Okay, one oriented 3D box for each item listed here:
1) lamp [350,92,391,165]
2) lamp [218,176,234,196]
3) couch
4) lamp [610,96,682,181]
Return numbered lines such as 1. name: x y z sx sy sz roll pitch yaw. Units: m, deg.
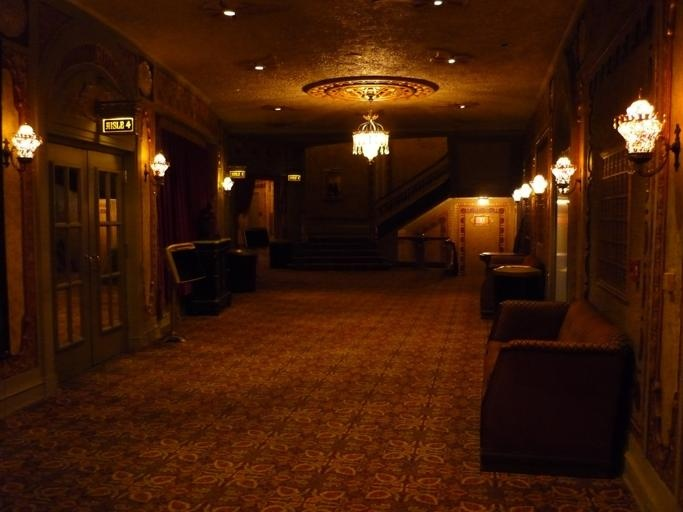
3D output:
1. lamp: 0.580 -2.538 10.422 0.590 1.441 0.603 2 -3 -42
2. lamp: -2.803 -1.686 12.983 0.369 0.391 0.154 3 20 -17
3. couch: 1.812 0.985 4.799 1.008 1.005 2.283 2 4 17
4. lamp: 1.877 -0.748 3.308 0.322 0.507 0.510 1 6 17
